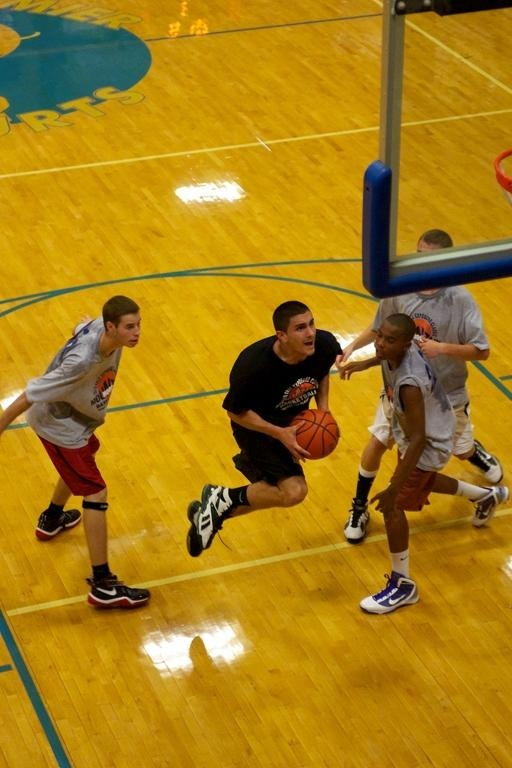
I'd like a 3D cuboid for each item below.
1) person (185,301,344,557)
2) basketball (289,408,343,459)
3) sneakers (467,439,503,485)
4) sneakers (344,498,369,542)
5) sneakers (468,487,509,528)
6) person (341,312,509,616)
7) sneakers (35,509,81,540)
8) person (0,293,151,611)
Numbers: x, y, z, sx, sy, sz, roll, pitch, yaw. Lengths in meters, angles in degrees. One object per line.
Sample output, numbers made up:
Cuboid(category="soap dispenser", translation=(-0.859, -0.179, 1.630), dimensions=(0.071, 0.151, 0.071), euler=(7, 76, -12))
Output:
Cuboid(category="person", translation=(0.007, 0.303, 3.458), dimensions=(0.819, 1.557, 0.514), euler=(1, 25, 6))
Cuboid(category="basketball", translation=(0.284, 0.240, 3.297), dimensions=(0.218, 0.183, 0.301), euler=(0, 23, 3))
Cuboid(category="sneakers", translation=(1.471, 0.514, 4.346), dimensions=(0.304, 0.113, 0.136), euler=(47, 27, 16))
Cuboid(category="sneakers", translation=(0.617, 0.781, 3.991), dimensions=(0.123, 0.143, 0.314), euler=(7, 43, 10))
Cuboid(category="sneakers", translation=(1.364, 0.711, 4.048), dimensions=(0.190, 0.353, 0.118), euler=(7, 46, -6))
Cuboid(category="person", translation=(0.937, 0.511, 3.735), dimensions=(1.032, 1.640, 0.865), euler=(-10, 36, 4))
Cuboid(category="sneakers", translation=(-1.157, 0.794, 4.041), dimensions=(0.110, 0.123, 0.302), euler=(18, 32, 36))
Cuboid(category="person", translation=(-0.921, 0.345, 3.436), dimensions=(0.668, 1.601, 0.806), euler=(-17, 29, -31))
